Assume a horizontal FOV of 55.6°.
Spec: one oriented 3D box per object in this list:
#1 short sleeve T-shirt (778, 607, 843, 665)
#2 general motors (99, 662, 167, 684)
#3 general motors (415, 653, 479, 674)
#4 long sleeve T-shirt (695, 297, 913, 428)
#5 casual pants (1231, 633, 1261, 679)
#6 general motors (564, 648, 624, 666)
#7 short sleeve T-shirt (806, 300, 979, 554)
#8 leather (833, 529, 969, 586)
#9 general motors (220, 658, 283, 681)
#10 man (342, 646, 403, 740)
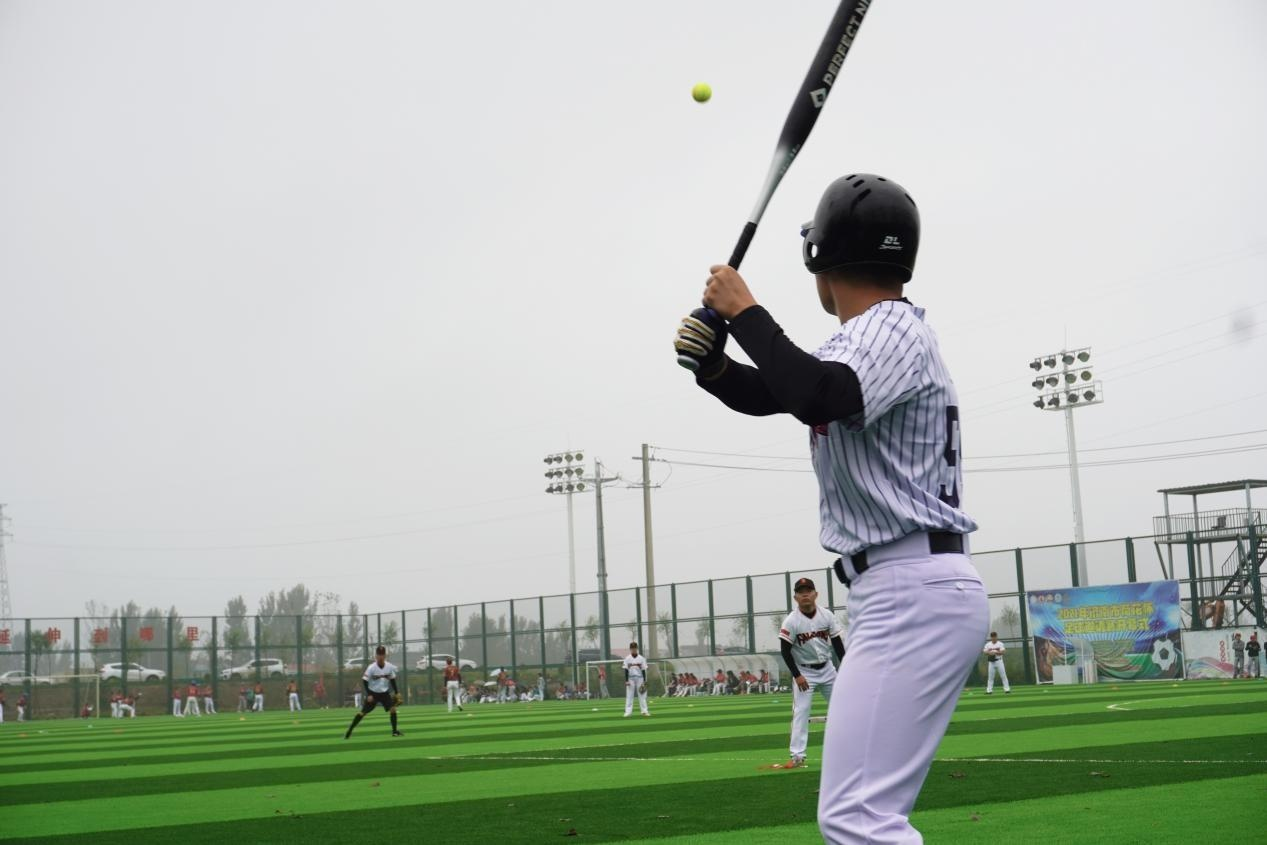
[{"bbox_3d":[2.542,3.081,17.298,0.943,0.852,0.482,-4,-4,-13],"label":"short sleeve T-shirt"},{"bbox_3d":[-20.982,10.492,50.008,2.050,0.776,0.942,0,-3,-15],"label":"general motors"},{"bbox_3d":[-8.389,10.842,53.028,2.670,0.939,1.205,-3,-9,6],"label":"general motors"},{"bbox_3d":[0.926,-0.291,7.046,0.957,0.319,0.813,8,-2,-24],"label":"long sleeve T-shirt"},{"bbox_3d":[17.268,6.495,33.766,0.794,1.265,0.657,-8,-11,26],"label":"casual pants"},{"bbox_3d":[-1.480,9.529,48.237,1.451,0.727,0.871,-6,-10,9],"label":"general motors"},{"bbox_3d":[1.457,0.083,6.908,0.581,1.123,1.430,-4,-3,24],"label":"short sleeve T-shirt"},{"bbox_3d":[1.697,0.827,7.467,0.897,0.248,0.931,-16,-11,20],"label":"leather"},{"bbox_3d":[-16.486,10.777,52.275,2.109,0.843,0.919,5,-13,-18],"label":"general motors"},{"bbox_3d":[-5.830,6.040,26.829,1.213,2.071,0.622,2,1,-10],"label":"man"}]
